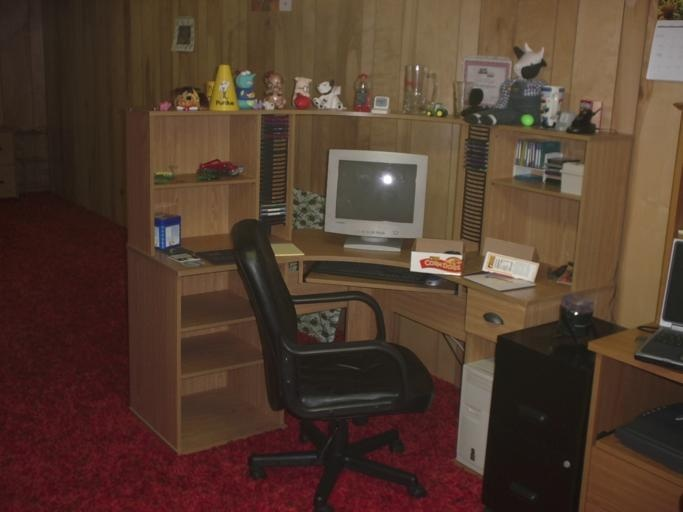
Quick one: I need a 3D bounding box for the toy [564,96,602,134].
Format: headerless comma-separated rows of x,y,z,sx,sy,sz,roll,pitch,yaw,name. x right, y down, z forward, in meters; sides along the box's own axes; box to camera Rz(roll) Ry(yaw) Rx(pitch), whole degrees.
1.135,-0.662,2.621,0.105,0.146,0.139,-6,24,-20,toy

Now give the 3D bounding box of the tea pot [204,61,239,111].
-0.640,-0.904,3.000,0.161,0.231,0.171,1,17,0,tea pot

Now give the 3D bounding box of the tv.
0.218,-0.394,3.380,0.586,0.625,0.350,5,32,7,tv

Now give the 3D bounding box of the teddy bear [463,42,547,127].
0.861,-0.888,2.865,0.361,0.459,0.301,6,10,-12,teddy bear

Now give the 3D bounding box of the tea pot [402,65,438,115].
0.475,-1.014,3.357,0.205,0.282,0.243,10,19,27,tea pot

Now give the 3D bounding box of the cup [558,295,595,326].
1.077,0.249,2.580,0.118,0.128,0.140,-3,10,-19,cup

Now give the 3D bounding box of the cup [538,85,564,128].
1.043,-0.745,2.775,0.102,0.197,0.106,1,16,0,cup

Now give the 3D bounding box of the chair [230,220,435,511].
-0.053,0.458,2.994,1.123,1.626,1.149,-1,7,-3,chair

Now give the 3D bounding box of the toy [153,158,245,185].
-0.786,-0.476,3.073,0.507,0.089,0.301,-7,19,-25,toy
